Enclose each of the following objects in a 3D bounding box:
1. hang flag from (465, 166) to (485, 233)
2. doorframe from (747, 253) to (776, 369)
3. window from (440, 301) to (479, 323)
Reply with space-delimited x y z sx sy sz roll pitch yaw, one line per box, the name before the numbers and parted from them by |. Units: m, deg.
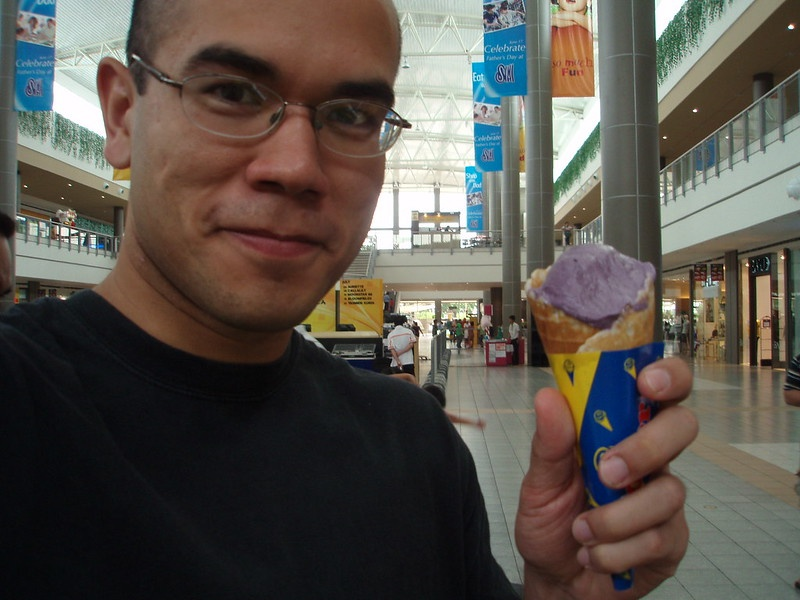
hang flag | 3.924 -5.234 31.840 1.052 3.522 0.126 -5 20 -4
doorframe | 9.179 0.284 15.358 0.338 2.845 1.185 0 -1 14
window | 5.730 0.984 57.385 2.533 1.683 0.110 -3 -28 1
